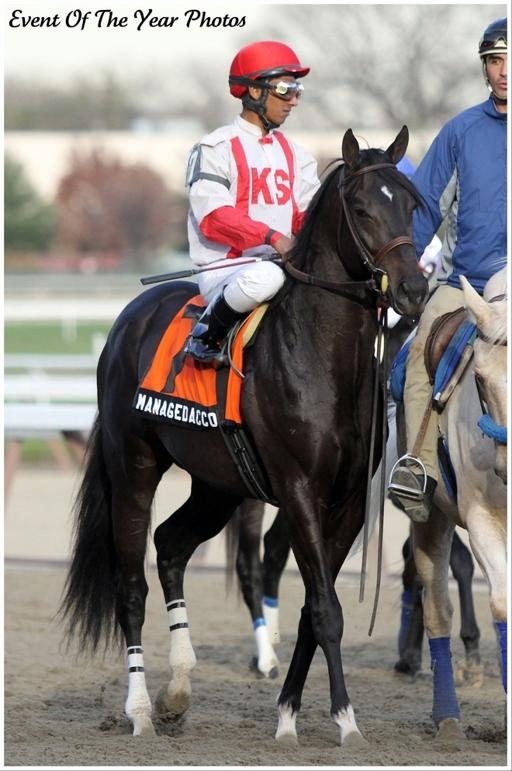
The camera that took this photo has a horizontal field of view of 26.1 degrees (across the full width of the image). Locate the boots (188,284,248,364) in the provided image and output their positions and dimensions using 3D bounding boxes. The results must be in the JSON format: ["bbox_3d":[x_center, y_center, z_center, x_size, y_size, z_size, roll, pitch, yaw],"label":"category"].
[{"bbox_3d":[-0.129,-0.214,3.995,0.198,0.111,0.269,22,-31,-14],"label":"boots"}]

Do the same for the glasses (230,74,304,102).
[{"bbox_3d":[0.046,-1.127,4.214,0.186,0.054,0.134,-1,-3,15],"label":"glasses"}]

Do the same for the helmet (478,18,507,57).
[{"bbox_3d":[0.820,-1.171,3.815,0.117,0.119,0.139,4,-31,7],"label":"helmet"}]

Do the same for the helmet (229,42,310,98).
[{"bbox_3d":[0.040,-1.238,4.294,0.356,0.160,0.245,-6,11,33],"label":"helmet"}]

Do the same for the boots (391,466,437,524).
[{"bbox_3d":[0.556,0.362,3.857,0.156,0.209,0.215,1,-2,15],"label":"boots"}]

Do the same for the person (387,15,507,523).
[{"bbox_3d":[0.703,-0.406,3.978,0.382,1.754,0.555,2,-2,7],"label":"person"}]
